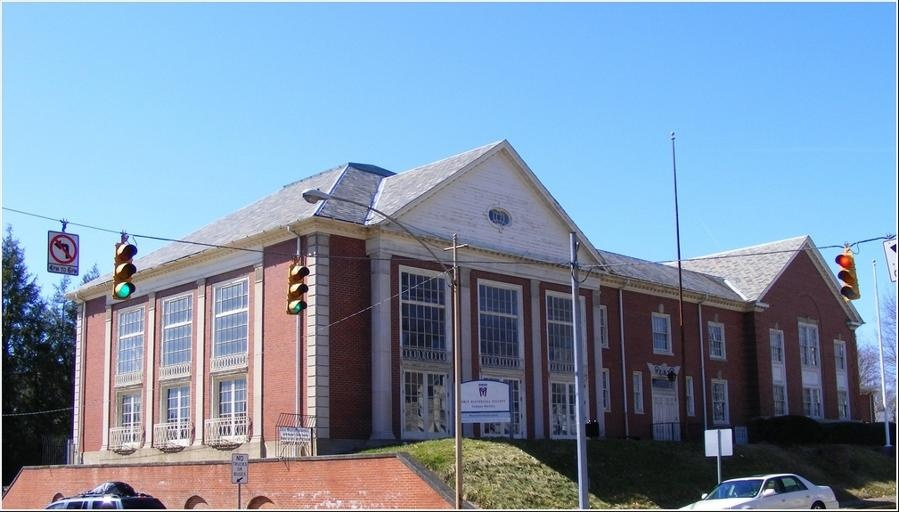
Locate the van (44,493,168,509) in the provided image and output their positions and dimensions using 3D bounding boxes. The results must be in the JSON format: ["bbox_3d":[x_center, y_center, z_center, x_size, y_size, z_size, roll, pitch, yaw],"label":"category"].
[{"bbox_3d":[-18.616,13.465,57.056,5.796,1.040,2.292,-9,-21,17],"label":"van"}]

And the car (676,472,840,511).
[{"bbox_3d":[16.717,12.611,55.587,7.538,1.959,1.922,4,-21,-17],"label":"car"}]
